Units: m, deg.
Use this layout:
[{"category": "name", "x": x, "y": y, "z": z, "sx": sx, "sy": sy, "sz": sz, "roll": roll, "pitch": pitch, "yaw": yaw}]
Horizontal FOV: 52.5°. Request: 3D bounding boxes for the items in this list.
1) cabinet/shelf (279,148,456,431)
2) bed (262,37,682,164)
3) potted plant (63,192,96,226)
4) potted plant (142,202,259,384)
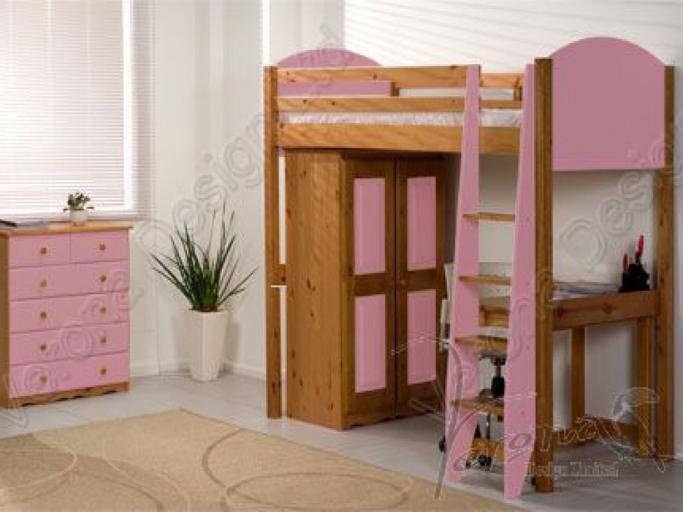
[{"category": "cabinet/shelf", "x": 0.139, "y": 0.187, "z": 4.358, "sx": 1.024, "sy": 1.685, "sz": 0.533, "roll": -1, "pitch": 6, "yaw": 4}, {"category": "bed", "x": 0.386, "y": -0.776, "z": 3.943, "sx": 1.689, "sy": 0.704, "sz": 0.904, "roll": 7, "pitch": 11, "yaw": 37}, {"category": "potted plant", "x": -1.958, "y": -0.347, "z": 5.071, "sx": 0.244, "sy": 0.295, "sz": 0.281, "roll": -2, "pitch": 6, "yaw": -36}, {"category": "potted plant", "x": -1.094, "y": 0.251, "z": 5.484, "sx": 0.679, "sy": 1.355, "sz": 0.584, "roll": -5, "pitch": 7, "yaw": -34}]
